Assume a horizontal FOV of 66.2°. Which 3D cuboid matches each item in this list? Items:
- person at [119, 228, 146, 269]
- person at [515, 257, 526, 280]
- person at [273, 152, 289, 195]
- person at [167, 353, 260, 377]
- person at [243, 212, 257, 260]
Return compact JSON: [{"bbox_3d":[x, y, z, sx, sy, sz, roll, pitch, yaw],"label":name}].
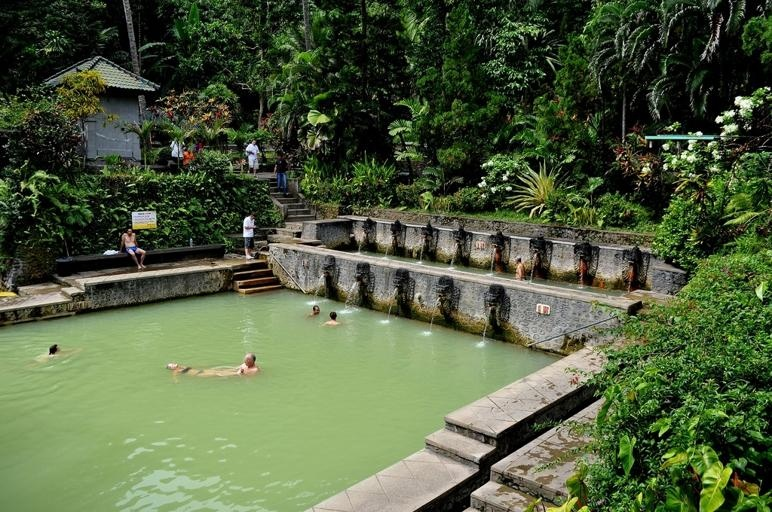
[{"bbox_3d":[-8.002,-0.247,18.821,0.616,1.160,1.313,-13,17,-40],"label":"person"},{"bbox_3d":[4.062,0.364,17.817,0.270,0.778,0.398,-1,27,7],"label":"person"},{"bbox_3d":[-4.326,-3.299,24.638,0.458,1.454,0.770,-4,13,-7],"label":"person"},{"bbox_3d":[-3.810,2.472,13.161,1.794,0.451,0.746,1,1,1],"label":"person"},{"bbox_3d":[-4.692,-0.738,20.227,0.400,1.520,1.041,-6,13,-14],"label":"person"}]
